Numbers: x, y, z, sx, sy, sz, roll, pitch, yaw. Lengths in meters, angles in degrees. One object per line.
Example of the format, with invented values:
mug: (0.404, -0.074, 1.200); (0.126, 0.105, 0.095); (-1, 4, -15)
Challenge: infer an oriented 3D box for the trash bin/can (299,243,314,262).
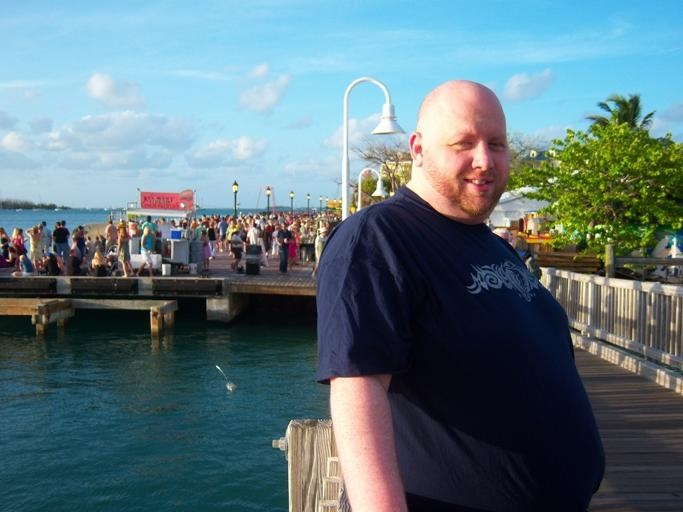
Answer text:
trash bin/can: (-1.439, -0.163, 31.820); (0.574, 0.630, 1.099); (4, -4, 5)

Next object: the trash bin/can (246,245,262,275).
trash bin/can: (-2.979, 0.112, 26.226); (0.641, 0.791, 1.242); (4, -9, -1)
